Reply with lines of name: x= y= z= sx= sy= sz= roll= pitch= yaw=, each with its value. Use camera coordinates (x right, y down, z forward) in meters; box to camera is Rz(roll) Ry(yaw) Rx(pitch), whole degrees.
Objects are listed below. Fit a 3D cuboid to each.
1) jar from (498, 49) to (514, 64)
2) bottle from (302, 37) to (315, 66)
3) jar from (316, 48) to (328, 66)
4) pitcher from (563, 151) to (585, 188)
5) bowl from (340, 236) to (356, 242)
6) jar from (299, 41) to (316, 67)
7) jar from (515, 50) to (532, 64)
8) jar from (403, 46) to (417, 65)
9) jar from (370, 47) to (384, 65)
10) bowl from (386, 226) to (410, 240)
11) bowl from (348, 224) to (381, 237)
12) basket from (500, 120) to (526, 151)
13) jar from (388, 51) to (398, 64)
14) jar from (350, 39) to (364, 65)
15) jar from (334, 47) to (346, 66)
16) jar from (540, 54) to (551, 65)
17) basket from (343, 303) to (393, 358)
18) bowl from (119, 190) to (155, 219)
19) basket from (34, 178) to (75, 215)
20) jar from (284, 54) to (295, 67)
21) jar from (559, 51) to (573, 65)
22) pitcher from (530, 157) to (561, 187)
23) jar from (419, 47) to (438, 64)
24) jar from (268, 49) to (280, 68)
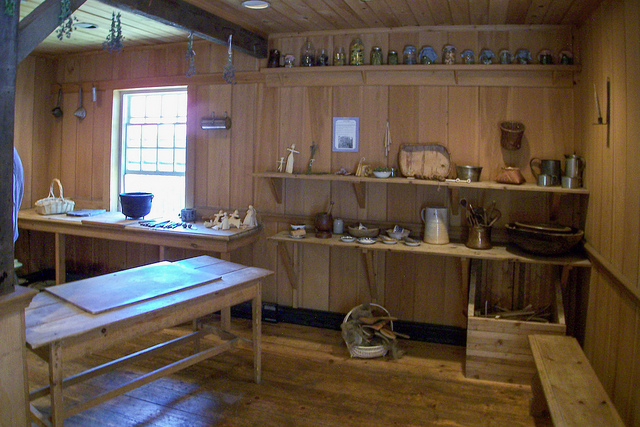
jar: x=1.813 y=-1.534 z=4.883 sx=0.126 sy=0.162 sz=0.185 roll=6 pitch=6 yaw=9
bottle: x=-0.117 y=-1.752 z=5.309 sx=0.118 sy=0.311 sz=0.155 roll=2 pitch=9 yaw=23
jar: x=0.026 y=-1.692 z=5.287 sx=0.121 sy=0.193 sz=0.134 roll=0 pitch=9 yaw=11
pitcher: x=2.407 y=-0.412 z=4.633 sx=0.154 sy=0.309 sz=0.352 roll=4 pitch=11 yaw=33
bowl: x=0.294 y=0.258 z=5.088 sx=0.163 sy=0.035 sz=0.165 roll=-1 pitch=10 yaw=0
jar: x=-0.152 y=-1.725 z=5.305 sx=0.196 sy=0.299 sz=0.239 roll=0 pitch=9 yaw=8
jar: x=1.998 y=-1.540 z=4.827 sx=0.149 sy=0.146 sz=0.133 roll=8 pitch=17 yaw=34
jar: x=0.919 y=-1.623 z=5.028 sx=0.132 sy=0.187 sz=0.120 roll=-1 pitch=9 yaw=0
jar: x=0.591 y=-1.642 z=5.119 sx=0.144 sy=0.183 sz=0.142 roll=-1 pitch=9 yaw=0
bowl: x=0.812 y=0.191 z=5.107 sx=0.229 sy=0.111 sz=0.278 roll=1 pitch=10 yaw=13
bowl: x=0.465 y=0.180 z=5.232 sx=0.332 sy=0.120 sz=0.284 roll=0 pitch=10 yaw=8
basket: x=1.889 y=-0.774 z=4.843 sx=0.255 sy=0.289 sz=0.277 roll=5 pitch=13 yaw=24
jar: x=0.756 y=-1.612 z=5.068 sx=0.108 sy=0.136 sz=0.089 roll=-2 pitch=9 yaw=-4
jar: x=0.387 y=-1.700 z=5.157 sx=0.147 sy=0.271 sz=0.120 roll=-1 pitch=8 yaw=3
jar: x=0.215 y=-1.671 z=5.213 sx=0.134 sy=0.188 sz=0.102 roll=-3 pitch=8 yaw=-8
jar: x=2.178 y=-1.491 z=4.741 sx=0.102 sy=0.100 sz=0.057 roll=3 pitch=10 yaw=18
basket: x=0.458 y=1.172 z=4.980 sx=0.403 sy=0.496 sz=0.307 roll=-3 pitch=9 yaw=-9
bowl: x=-2.200 y=-0.126 z=5.858 sx=0.350 sy=0.290 sz=0.386 roll=5 pitch=6 yaw=32
basket: x=-3.341 y=-0.211 z=6.212 sx=0.269 sy=0.410 sz=0.449 roll=3 pitch=5 yaw=30
jar: x=-0.330 y=-1.669 z=5.345 sx=0.105 sy=0.135 sz=0.097 roll=-1 pitch=9 yaw=0
jar: x=2.351 y=-1.495 z=4.711 sx=0.107 sy=0.142 sz=0.190 roll=4 pitch=11 yaw=32
pitcher: x=2.173 y=-0.410 z=4.746 sx=0.279 sy=0.252 sz=0.272 roll=3 pitch=10 yaw=25
jar: x=1.093 y=-1.606 z=4.984 sx=0.146 sy=0.173 sz=0.060 roll=7 pitch=4 yaw=6
jar: x=-0.506 y=-1.706 z=5.393 sx=0.130 sy=0.214 sz=0.164 roll=-3 pitch=9 yaw=-8
